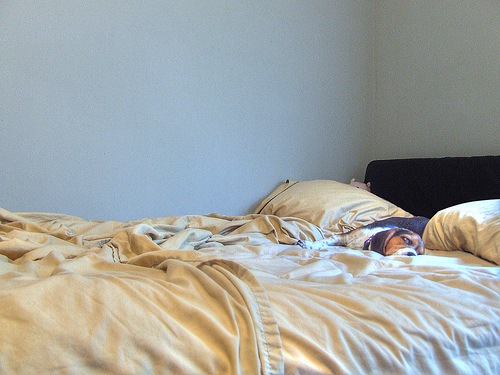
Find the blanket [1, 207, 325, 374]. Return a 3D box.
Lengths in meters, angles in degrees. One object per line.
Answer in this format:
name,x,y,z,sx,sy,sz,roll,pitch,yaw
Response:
blanket,-0.309,0.350,1.459,0.815,0.247,0.816,3,1,-32
